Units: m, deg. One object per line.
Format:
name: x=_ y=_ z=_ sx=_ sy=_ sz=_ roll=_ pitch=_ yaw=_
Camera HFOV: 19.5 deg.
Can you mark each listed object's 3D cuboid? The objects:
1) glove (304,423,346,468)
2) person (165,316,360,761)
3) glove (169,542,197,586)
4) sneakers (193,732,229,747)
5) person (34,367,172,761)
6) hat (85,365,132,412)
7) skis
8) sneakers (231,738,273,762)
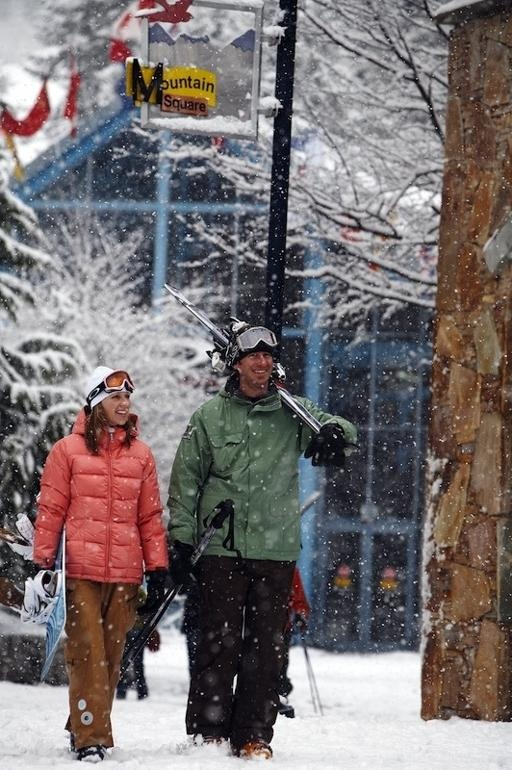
glove: x=0.321 y=0.262 z=7.065 sx=0.095 sy=0.162 sz=0.215 roll=-20 pitch=26 yaw=3
person: x=-0.016 y=0.685 z=6.998 sx=0.802 sy=2.011 sz=0.477 roll=-1 pitch=-1 yaw=-4
glove: x=-0.358 y=0.824 z=6.943 sx=0.162 sy=0.174 sz=0.056 roll=6 pitch=-7 yaw=41
sneakers: x=-0.223 y=1.614 z=6.840 sx=0.160 sy=0.048 sz=0.054 roll=-1 pitch=-2 yaw=5
person: x=-0.694 y=0.790 z=6.936 sx=0.347 sy=1.753 sz=0.641 roll=-2 pitch=-2 yaw=37
hat: x=-0.706 y=0.020 z=7.080 sx=0.176 sy=0.208 sz=0.210 roll=-2 pitch=2 yaw=-31
skis: x=-0.005 y=-0.046 z=7.324 sx=0.086 sy=0.234 sz=1.138 roll=32 pitch=5 yaw=-41
sneakers: x=-0.014 y=1.639 z=6.768 sx=0.114 sy=0.052 sz=0.090 roll=5 pitch=2 yaw=-9
